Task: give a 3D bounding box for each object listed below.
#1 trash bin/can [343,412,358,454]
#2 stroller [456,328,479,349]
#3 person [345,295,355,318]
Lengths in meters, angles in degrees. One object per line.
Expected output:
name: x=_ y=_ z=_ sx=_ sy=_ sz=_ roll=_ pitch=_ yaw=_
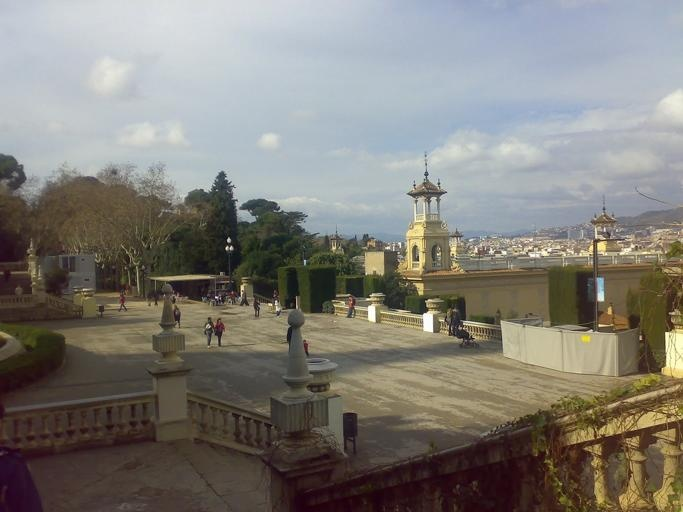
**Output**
trash bin/can: x=0.194 y=4.357 z=17.881 sx=0.460 sy=0.986 sz=0.533 roll=-1 pitch=-6 yaw=7
stroller: x=5.502 y=3.545 z=31.428 sx=0.904 sy=0.430 sz=0.596 roll=23 pitch=12 yaw=42
person: x=0.555 y=3.002 z=43.148 sx=0.465 sy=1.388 sz=1.375 roll=-1 pitch=-10 yaw=0
